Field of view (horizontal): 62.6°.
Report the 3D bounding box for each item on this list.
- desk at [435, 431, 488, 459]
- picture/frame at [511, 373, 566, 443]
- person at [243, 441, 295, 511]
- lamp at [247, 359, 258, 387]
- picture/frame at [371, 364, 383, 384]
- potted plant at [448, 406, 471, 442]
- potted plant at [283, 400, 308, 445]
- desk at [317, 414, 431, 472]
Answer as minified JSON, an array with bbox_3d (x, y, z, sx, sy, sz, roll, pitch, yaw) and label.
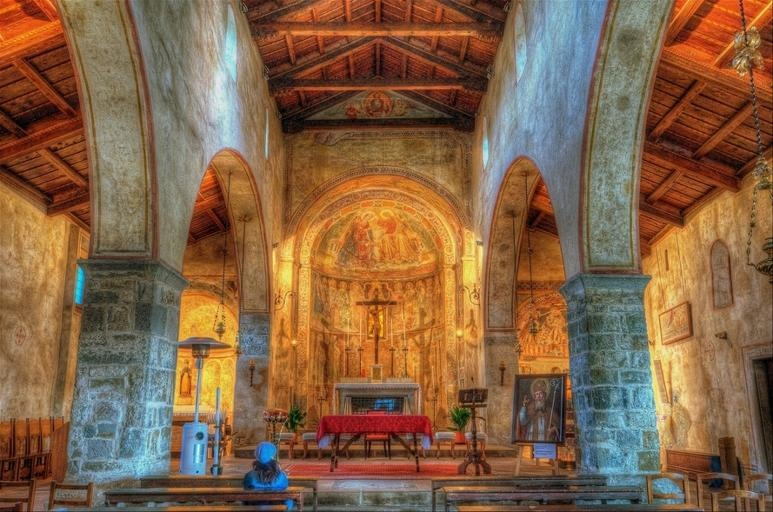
[{"bbox_3d":[1.699,4.507,15.362,1.129,0.773,2.792,-2,-24,3],"label":"desk"},{"bbox_3d":[2.824,2.849,11.733,1.273,1.673,0.170,-4,-30,22],"label":"picture/frame"},{"bbox_3d":[-1.455,2.904,8.347,0.743,1.177,0.853,1,-22,-7],"label":"person"},{"bbox_3d":[-3.483,3.064,16.537,0.241,0.676,0.142,8,-24,-20],"label":"lamp"},{"bbox_3d":[-0.280,3.330,17.705,0.359,0.543,0.370,3,-27,-6],"label":"picture/frame"},{"bbox_3d":[1.868,4.423,16.487,0.686,0.969,0.913,8,-11,10],"label":"potted plant"},{"bbox_3d":[-2.370,4.232,16.553,0.507,0.576,0.515,4,1,0],"label":"potted plant"},{"bbox_3d":[-0.274,4.201,13.736,2.277,1.198,2.967,0,-24,-2],"label":"desk"}]
